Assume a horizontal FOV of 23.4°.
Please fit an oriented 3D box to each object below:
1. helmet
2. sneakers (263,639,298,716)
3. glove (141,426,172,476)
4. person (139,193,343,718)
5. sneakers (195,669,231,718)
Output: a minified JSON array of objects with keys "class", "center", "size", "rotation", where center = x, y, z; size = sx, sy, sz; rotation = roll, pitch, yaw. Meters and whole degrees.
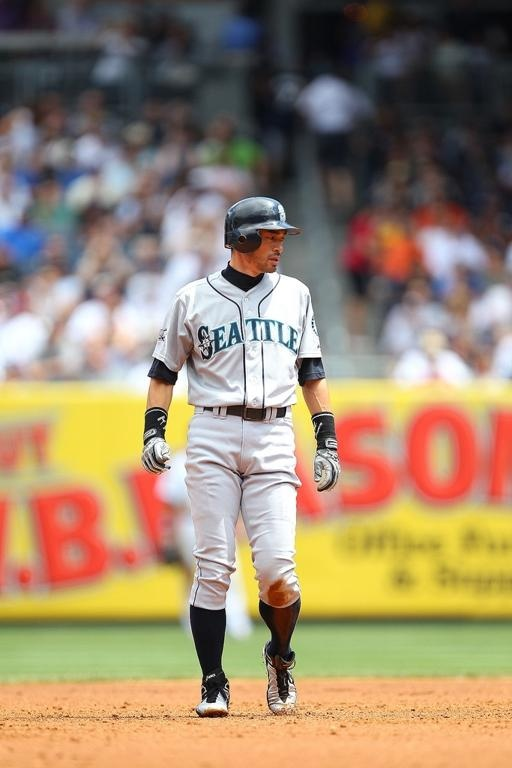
[{"class":"helmet","center":[0.012,-0.590,4.483],"size":[0.285,0.194,0.198],"rotation":[2,20,12]},{"class":"sneakers","center":[0.083,1.035,4.402],"size":[0.103,0.258,0.136],"rotation":[-5,-2,-8]},{"class":"glove","center":[-0.324,0.247,4.310],"size":[0.102,0.123,0.065],"rotation":[-28,-24,25]},{"class":"person","center":[-0.037,0.261,4.379],"size":[0.660,1.751,0.816],"rotation":[-4,18,-3]},{"class":"sneakers","center":[-0.153,1.069,4.296],"size":[0.119,0.171,0.173],"rotation":[-4,17,-4]}]
